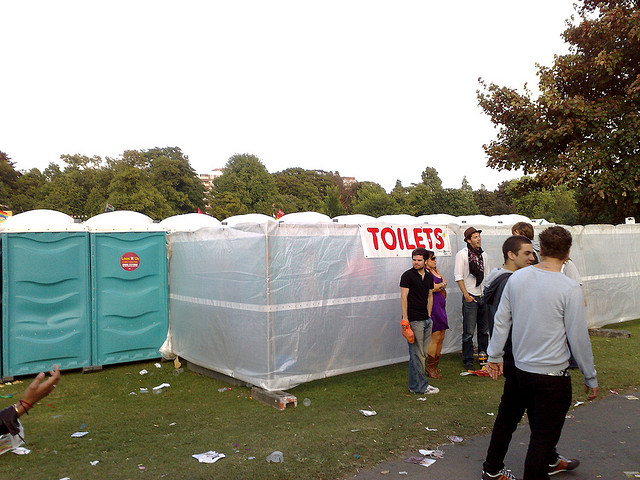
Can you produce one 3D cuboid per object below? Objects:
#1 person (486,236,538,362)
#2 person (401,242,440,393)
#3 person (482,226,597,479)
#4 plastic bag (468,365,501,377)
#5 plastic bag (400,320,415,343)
[{"bbox_3d":[2.268,0.731,5.698,0.619,2.078,0.559,0,42,17],"label":"person"},{"bbox_3d":[1.646,1.302,7.803,0.550,2.320,1.145,-1,3,12],"label":"person"},{"bbox_3d":[2.088,1.190,4.518,0.988,2.605,0.553,0,3,32],"label":"person"},{"bbox_3d":[2.806,2.352,8.304,0.321,0.134,0.416,-1,2,11],"label":"plastic bag"},{"bbox_3d":[1.381,1.450,7.348,0.189,0.354,0.164,-2,3,-10],"label":"plastic bag"}]
